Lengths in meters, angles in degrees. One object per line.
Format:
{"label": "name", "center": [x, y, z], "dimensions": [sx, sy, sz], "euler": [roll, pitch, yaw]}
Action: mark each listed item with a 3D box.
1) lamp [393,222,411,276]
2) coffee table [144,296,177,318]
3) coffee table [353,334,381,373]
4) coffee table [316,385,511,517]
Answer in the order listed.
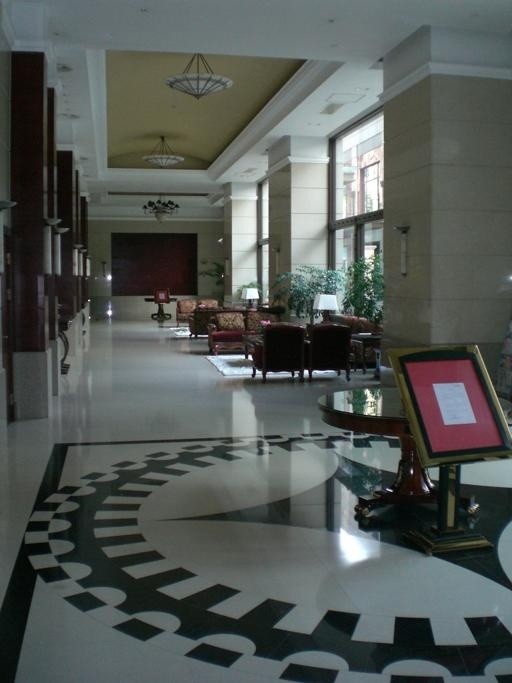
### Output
{"label": "lamp", "center": [1.946, -1.232, 7.311], "dimensions": [0.121, 0.721, 0.242], "euler": [0, 3, -10]}
{"label": "coffee table", "center": [-4.341, -1.579, 23.942], "dimensions": [1.144, 0.797, 1.148], "euler": [1, 10, 3]}
{"label": "coffee table", "center": [1.921, 0.211, 9.567], "dimensions": [0.603, 0.696, 0.725], "euler": [2, 5, 11]}
{"label": "coffee table", "center": [0.962, 0.754, 3.468], "dimensions": [0.794, 0.576, 0.785], "euler": [6, -3, -31]}
